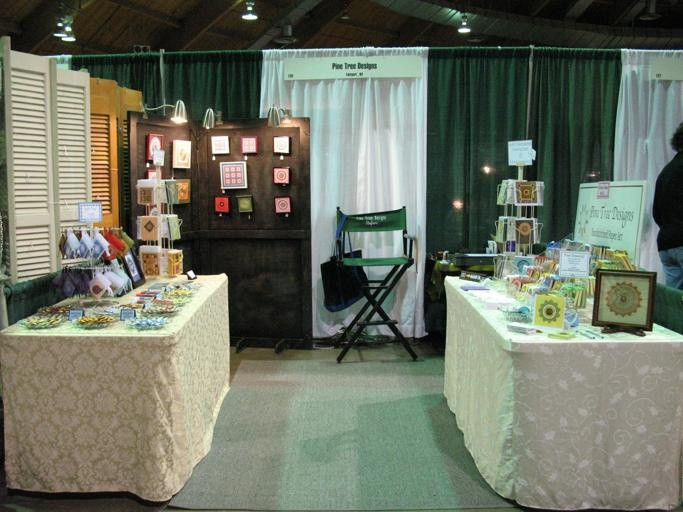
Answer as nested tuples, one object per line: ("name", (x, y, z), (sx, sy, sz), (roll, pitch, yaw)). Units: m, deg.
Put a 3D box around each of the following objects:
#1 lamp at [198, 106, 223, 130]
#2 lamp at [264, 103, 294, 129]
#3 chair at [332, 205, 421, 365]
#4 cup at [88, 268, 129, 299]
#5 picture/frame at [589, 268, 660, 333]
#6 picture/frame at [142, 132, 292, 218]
("lamp", (-1.263, -1.339, 5.252), (0.154, 0.277, 0.250), (7, 7, 31))
("lamp", (-0.570, -1.346, 5.191), (0.184, 0.294, 0.316), (0, 1, 18))
("chair", (0.334, 0.223, 5.301), (0.809, 1.427, 0.863), (0, 9, -1))
("cup", (-1.511, 0.170, 3.538), (0.202, 0.180, 0.100), (-10, 10, 3))
("picture/frame", (1.511, 0.228, 2.907), (0.285, 0.369, 0.037), (4, 27, 27))
("picture/frame", (-1.256, -0.725, 4.871), (0.841, 0.742, 1.481), (8, 13, 39))
